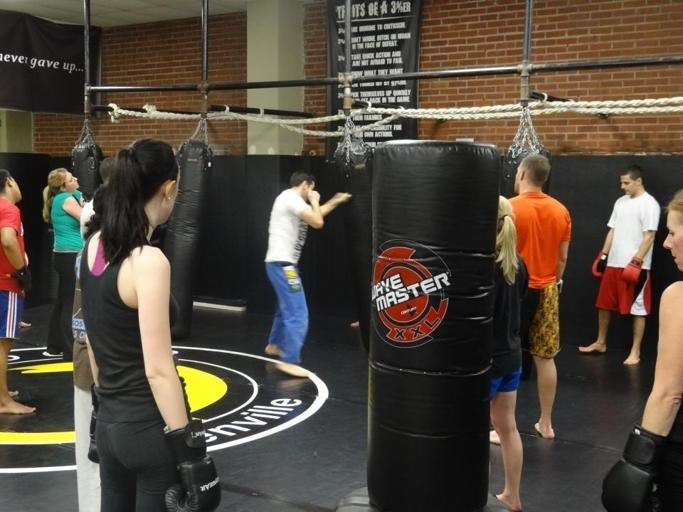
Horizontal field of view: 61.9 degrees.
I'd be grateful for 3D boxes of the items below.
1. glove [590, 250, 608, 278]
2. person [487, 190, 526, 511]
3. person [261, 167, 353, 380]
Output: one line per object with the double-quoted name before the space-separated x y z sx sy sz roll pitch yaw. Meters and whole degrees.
"glove" 3.143 0.097 6.975 0.111 0.275 0.216 24 -2 3
"person" 1.024 0.634 3.458 0.228 1.978 0.628 3 9 17
"person" -0.485 0.167 6.301 0.741 2.194 0.983 -1 8 -8
